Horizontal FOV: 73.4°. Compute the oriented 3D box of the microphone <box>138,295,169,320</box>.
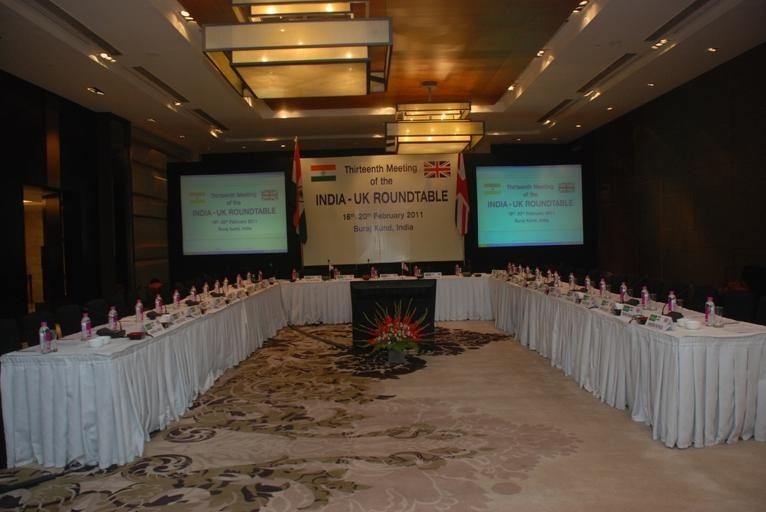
[{"bbox_3d":[-3.282,0.736,7.408,0.318,0.168,0.428,1,0,-6],"label":"microphone"}]

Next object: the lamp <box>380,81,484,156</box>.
[{"bbox_3d":[1.021,-2.661,10.505,1.412,1.000,1.408,0,4,4],"label":"lamp"}]

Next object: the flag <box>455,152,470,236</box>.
[{"bbox_3d":[1.972,-1.511,12.834,0.280,2.043,0.559,-1,6,10],"label":"flag"}]

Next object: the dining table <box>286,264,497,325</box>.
[{"bbox_3d":[0.059,0.990,11.442,4.596,0.978,0.245,-2,6,1],"label":"dining table"}]

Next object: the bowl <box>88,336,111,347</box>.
[{"bbox_3d":[-3.290,0.999,6.020,0.117,0.056,0.157,0,2,17],"label":"bowl"}]

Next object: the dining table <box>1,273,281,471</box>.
[{"bbox_3d":[-2.781,1.518,7.510,1.331,1.320,4.481,1,6,25],"label":"dining table"}]
